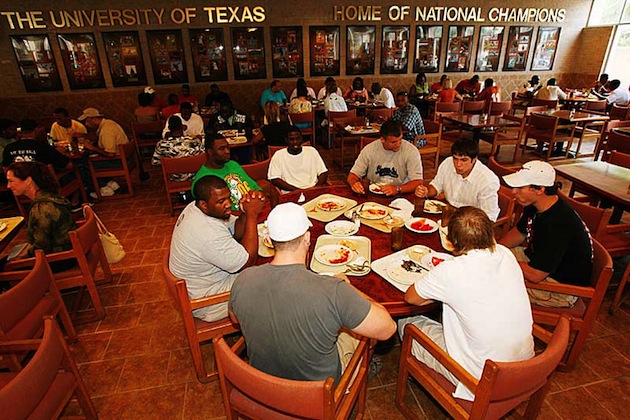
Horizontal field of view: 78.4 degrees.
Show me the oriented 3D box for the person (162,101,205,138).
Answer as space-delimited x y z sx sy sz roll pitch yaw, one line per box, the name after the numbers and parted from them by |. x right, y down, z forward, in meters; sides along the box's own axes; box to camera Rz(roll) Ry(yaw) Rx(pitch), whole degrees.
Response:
-2.536 -1.681 7.619 0.447 0.777 0.551 -33 27 -30 | person

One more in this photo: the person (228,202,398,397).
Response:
-0.057 0.978 3.463 1.465 2.040 1.126 5 31 17 | person

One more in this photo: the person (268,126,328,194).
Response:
-0.249 -0.622 5.196 0.876 0.930 0.582 -8 15 -13 | person

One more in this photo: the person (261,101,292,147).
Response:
-0.757 -1.441 6.572 0.460 0.816 0.399 22 42 23 | person

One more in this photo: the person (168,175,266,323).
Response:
-0.964 0.542 3.966 1.025 1.764 0.770 -11 29 -21 | person

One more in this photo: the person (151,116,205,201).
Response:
-2.286 -0.849 6.505 0.920 1.453 0.790 -12 29 -30 | person

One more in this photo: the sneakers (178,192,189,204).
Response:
-2.258 -0.214 6.580 0.186 0.176 0.182 -1 16 -18 | sneakers

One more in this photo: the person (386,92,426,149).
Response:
1.717 -1.687 7.338 0.683 1.025 0.554 -11 28 -5 | person

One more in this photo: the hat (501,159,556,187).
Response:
2.068 -0.351 3.703 0.380 0.185 0.255 11 26 26 | hat

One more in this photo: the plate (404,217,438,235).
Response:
1.087 0.153 3.941 0.198 0.051 0.198 8 25 22 | plate

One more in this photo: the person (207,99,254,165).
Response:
-1.671 -1.429 7.703 0.743 1.654 0.487 -16 42 -17 | person

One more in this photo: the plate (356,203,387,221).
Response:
0.634 0.013 4.166 0.214 0.029 0.214 7 35 10 | plate

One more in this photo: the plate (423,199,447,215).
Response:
1.310 -0.040 4.253 0.182 0.029 0.181 -21 29 -38 | plate

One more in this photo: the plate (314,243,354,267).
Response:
0.170 0.406 3.608 0.227 0.032 0.221 -4 33 -6 | plate

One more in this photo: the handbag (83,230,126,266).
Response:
-2.545 0.460 4.619 0.203 0.469 0.343 -23 26 -6 | handbag

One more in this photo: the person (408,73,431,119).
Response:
2.844 -2.974 10.405 0.539 1.273 0.592 -3 12 2 | person

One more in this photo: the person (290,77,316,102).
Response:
-0.303 -3.030 9.953 0.646 0.371 0.843 4 16 -4 | person
